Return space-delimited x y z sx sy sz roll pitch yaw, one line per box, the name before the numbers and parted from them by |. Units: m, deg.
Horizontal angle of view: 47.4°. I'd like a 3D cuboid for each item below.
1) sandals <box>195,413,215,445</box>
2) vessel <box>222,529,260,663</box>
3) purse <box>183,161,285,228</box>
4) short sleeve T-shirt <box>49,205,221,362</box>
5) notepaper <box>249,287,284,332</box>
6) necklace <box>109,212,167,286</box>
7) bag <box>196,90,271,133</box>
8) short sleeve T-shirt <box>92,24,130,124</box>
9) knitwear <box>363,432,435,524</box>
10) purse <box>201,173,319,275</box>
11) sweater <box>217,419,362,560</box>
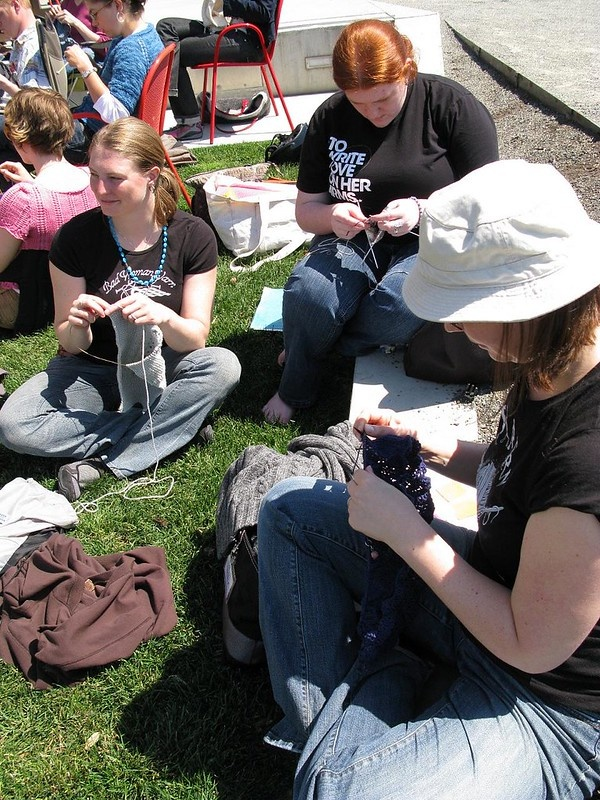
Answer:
sandals | -0.414 0.127 2.985 0.040 0.117 0.072 33 48 12
vessel | -0.186 0.552 2.056 0.127 0.382 0.311 -5 32 -5
purse | -0.488 -1.473 4.738 0.580 0.231 0.732 -4 23 17
short sleeve T-shirt | -0.594 -0.439 3.037 0.903 0.808 0.450 -3 32 -11
notepaper | -0.189 -0.493 3.763 0.177 0.020 0.433 2 38 4
necklace | -0.631 -0.591 2.727 0.225 0.251 0.142 -9 33 -11
bag | -0.667 -2.983 7.062 0.854 0.341 0.591 -15 32 -16
short sleeve T-shirt | -1.317 -2.136 4.668 0.245 0.472 0.284 -8 32 -10
knitwear | 0.221 0.182 1.571 0.195 0.189 0.085 -2 -8 21
purse | -0.260 -1.115 4.263 0.583 0.456 0.681 -8 33 -7
sweater | -0.012 0.359 2.341 0.517 0.189 0.393 -25 22 19
